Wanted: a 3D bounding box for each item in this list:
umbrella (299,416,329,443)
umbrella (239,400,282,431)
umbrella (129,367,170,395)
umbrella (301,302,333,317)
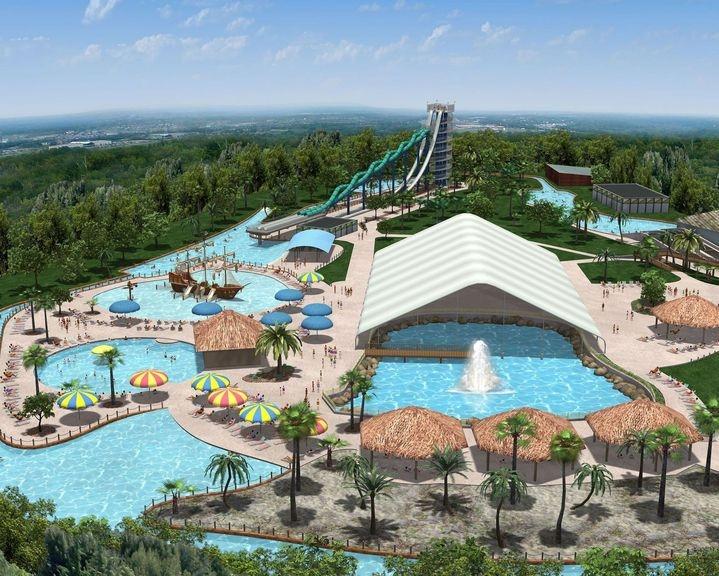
[{"bbox_3d":[-3.452,11.395,47.570,3.921,0.899,3.237,-1,13,4],"label":"umbrella"},{"bbox_3d":[-8.549,11.228,51.058,4.460,1.311,3.573,1,20,-4],"label":"umbrella"},{"bbox_3d":[-20.081,9.259,56.617,3.695,1.772,2.943,0,21,-3],"label":"umbrella"},{"bbox_3d":[-5.134,2.983,74.219,3.366,1.640,3.083,-18,20,-39],"label":"umbrella"}]
